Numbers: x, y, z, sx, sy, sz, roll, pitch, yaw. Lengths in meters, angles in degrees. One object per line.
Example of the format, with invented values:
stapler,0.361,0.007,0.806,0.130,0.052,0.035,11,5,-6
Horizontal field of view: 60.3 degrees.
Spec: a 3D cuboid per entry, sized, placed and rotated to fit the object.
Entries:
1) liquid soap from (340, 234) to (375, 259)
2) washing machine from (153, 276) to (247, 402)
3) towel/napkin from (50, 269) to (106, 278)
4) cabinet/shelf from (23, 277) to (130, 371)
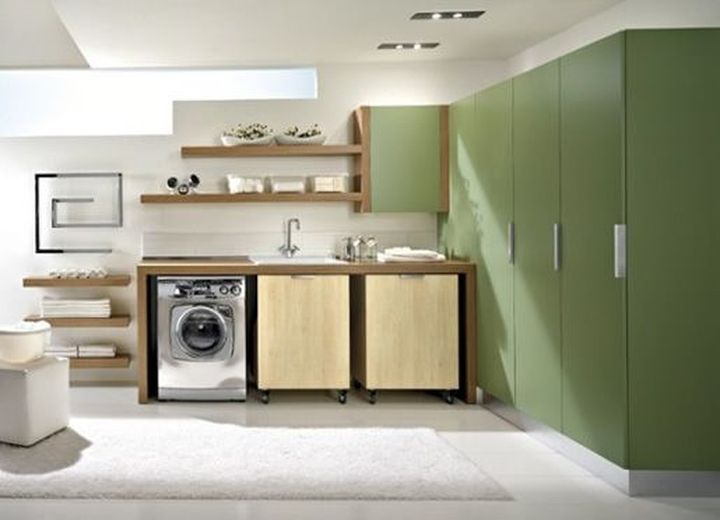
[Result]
liquid soap,-0.017,-0.115,5.992,0.395,0.264,0.213,-1,5,-2
washing machine,-1.306,0.713,5.752,0.994,1.399,0.945,0,-2,-5
towel/napkin,-2.683,0.129,5.897,0.505,0.077,0.179,-2,10,-13
cabinet/shelf,-2.594,0.594,5.699,0.926,0.809,0.298,0,0,-4
